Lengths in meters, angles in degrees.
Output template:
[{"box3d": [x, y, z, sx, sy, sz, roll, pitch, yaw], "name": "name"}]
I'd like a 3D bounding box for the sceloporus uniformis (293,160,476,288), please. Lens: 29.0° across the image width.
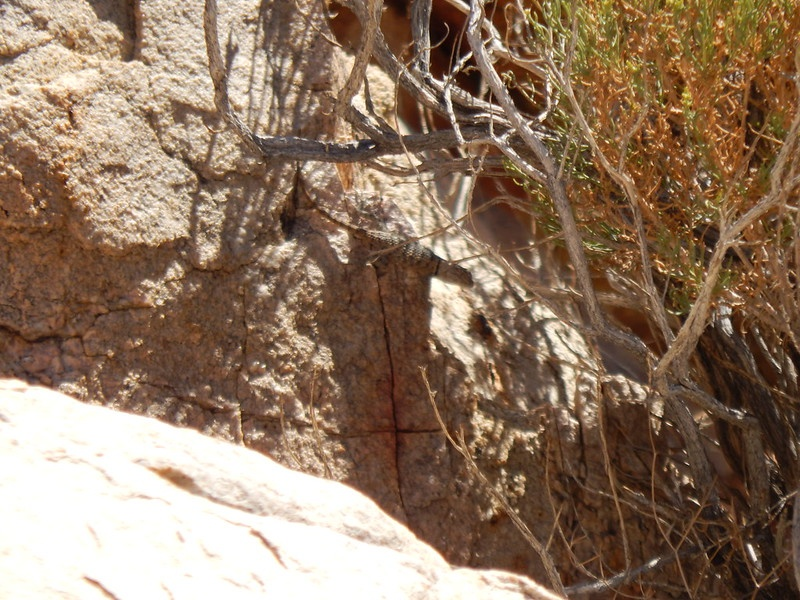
[{"box3d": [-0.100, -0.271, 5.243, 0.787, 0.244, 0.228, 35, -24, -34], "name": "sceloporus uniformis"}]
